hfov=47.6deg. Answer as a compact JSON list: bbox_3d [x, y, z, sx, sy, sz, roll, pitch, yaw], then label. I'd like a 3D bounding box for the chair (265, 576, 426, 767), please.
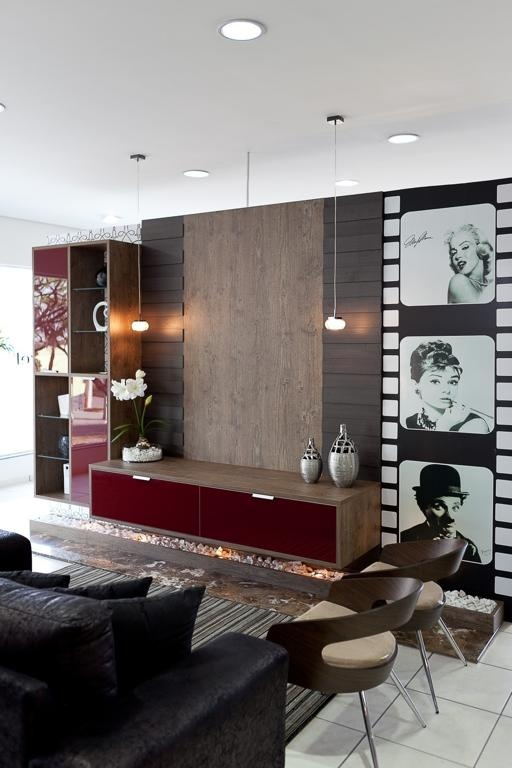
[{"bbox_3d":[0.329,0.971,2.012,0.468,0.652,0.578,-1,5,16],"label":"chair"}]

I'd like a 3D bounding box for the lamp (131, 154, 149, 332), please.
[{"bbox_3d":[-0.916,-1.081,4.432,0.169,1.487,0.164,-6,-10,15],"label":"lamp"}]

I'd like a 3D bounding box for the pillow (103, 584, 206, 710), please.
[{"bbox_3d":[-0.248,0.639,1.393,0.087,0.188,0.248,-7,-4,45],"label":"pillow"}]

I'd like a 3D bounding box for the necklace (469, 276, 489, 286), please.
[{"bbox_3d":[1.231,-0.562,3.224,0.103,0.059,0.008,2,6,38],"label":"necklace"}]

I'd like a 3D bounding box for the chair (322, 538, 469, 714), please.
[{"bbox_3d":[0.718,0.952,2.711,0.633,0.860,0.665,2,3,31],"label":"chair"}]

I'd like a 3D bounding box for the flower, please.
[{"bbox_3d":[-0.932,0.191,4.469,0.290,0.589,0.432,0,5,22],"label":"flower"}]
